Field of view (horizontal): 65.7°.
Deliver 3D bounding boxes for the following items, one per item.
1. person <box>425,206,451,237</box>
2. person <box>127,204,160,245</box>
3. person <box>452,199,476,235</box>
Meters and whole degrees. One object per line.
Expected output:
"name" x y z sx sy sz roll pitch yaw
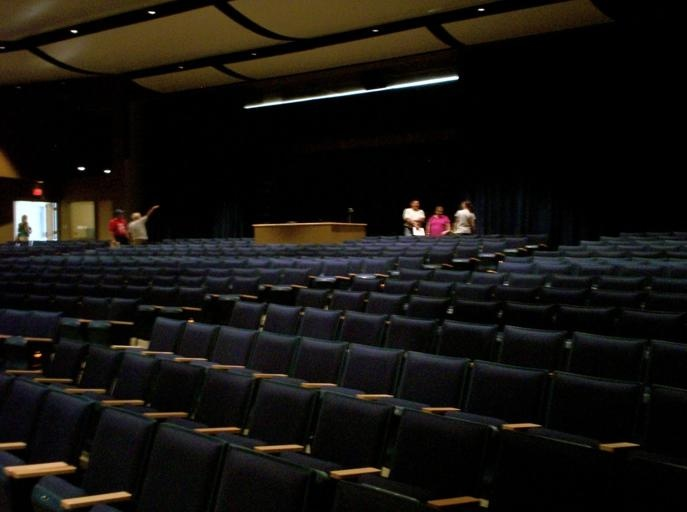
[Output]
"person" 1.879 -0.666 10.394 0.455 0.652 0.814 3 -5 9
"person" -4.356 -0.632 11.083 0.680 0.896 0.234 10 39 -24
"person" 2.261 -0.697 9.944 0.383 0.673 0.759 4 -5 6
